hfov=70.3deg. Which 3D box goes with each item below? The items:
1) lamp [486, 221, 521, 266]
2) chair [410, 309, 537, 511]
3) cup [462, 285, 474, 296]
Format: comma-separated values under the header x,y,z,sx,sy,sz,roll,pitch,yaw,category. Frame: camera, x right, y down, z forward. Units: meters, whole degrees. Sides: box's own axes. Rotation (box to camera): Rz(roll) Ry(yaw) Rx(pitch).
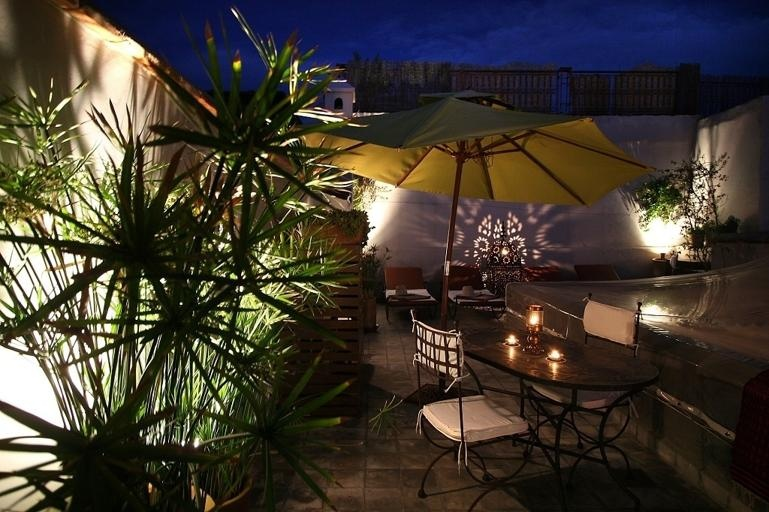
x,y,z,sx,sy,sz,roll,pitch,yaw,category
2.344,-0.234,10.631,0.806,0.883,0.818,0,0,4,lamp
0.656,1.081,4.201,0.876,1.172,1.123,0,12,2,chair
1.338,0.556,8.742,0.145,0.128,0.144,0,-1,0,cup
